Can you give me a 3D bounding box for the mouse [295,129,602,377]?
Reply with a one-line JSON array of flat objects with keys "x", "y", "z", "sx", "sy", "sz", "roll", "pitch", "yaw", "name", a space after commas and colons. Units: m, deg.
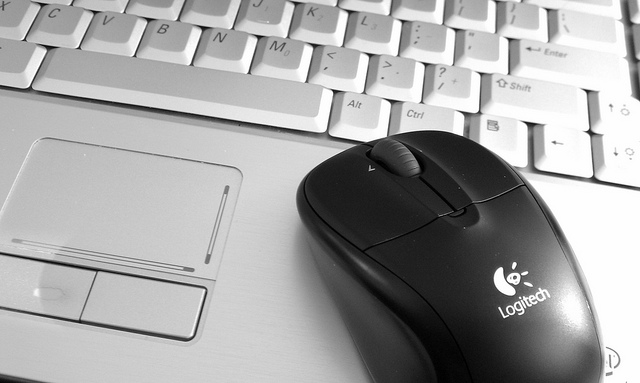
[{"x": 0.114, "y": 0.061, "z": 0.612, "sx": 0.193, "sy": 0.099, "sz": 0.303, "roll": -24, "pitch": 66, "yaw": -15, "name": "mouse"}]
